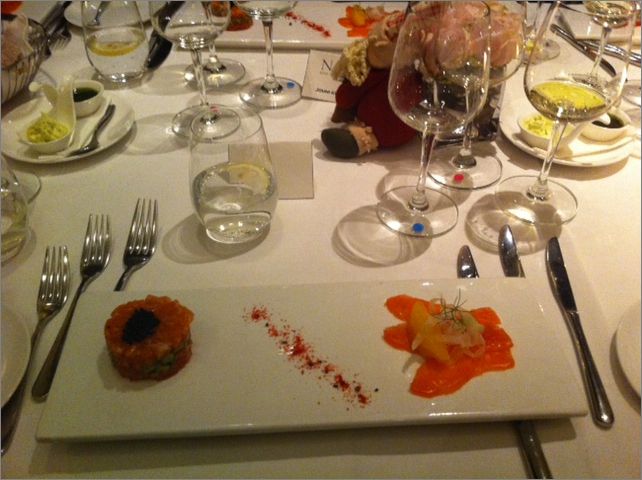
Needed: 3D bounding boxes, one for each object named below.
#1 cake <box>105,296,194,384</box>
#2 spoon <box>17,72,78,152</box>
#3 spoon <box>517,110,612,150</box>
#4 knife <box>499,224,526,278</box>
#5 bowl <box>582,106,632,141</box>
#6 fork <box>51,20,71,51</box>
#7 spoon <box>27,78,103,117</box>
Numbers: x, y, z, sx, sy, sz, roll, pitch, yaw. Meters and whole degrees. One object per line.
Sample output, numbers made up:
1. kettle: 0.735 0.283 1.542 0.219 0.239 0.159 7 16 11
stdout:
1. cake: -0.317 0.176 0.932 0.153 0.076 0.167 -4 34 -15
2. spoon: -0.744 -0.346 1.365 0.150 0.093 0.230 -5 54 -3
3. spoon: 0.665 -0.293 1.362 0.187 0.091 0.134 -3 47 18
4. knife: 0.432 0.031 1.135 0.027 0.016 0.207 -18 29 23
5. bowl: 0.813 -0.310 1.403 0.097 0.099 0.042 22 87 -16
6. fork: -0.939 -0.763 1.856 0.045 0.069 0.170 2 39 -10
7. spoon: -0.716 -0.411 1.424 0.164 0.081 0.120 -18 53 -34
